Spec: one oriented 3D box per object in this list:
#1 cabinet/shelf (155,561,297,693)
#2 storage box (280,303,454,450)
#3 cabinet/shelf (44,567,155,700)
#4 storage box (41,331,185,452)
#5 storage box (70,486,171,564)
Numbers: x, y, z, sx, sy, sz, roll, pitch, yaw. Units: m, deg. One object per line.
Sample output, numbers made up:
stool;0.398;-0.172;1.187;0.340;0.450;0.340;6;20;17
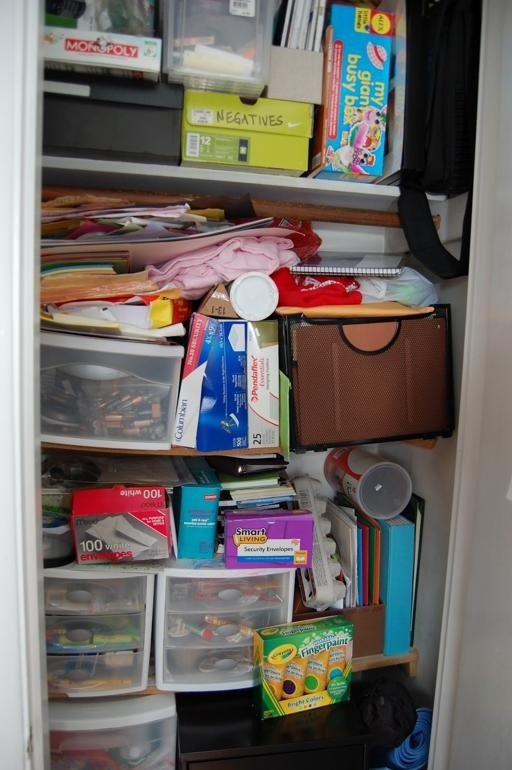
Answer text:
cabinet/shelf;-0.078;0.545;1.356;0.307;0.304;0.179;0;2;-10
storage box;0.236;-0.018;1.437;0.399;0.318;0.228;-5;6;-18
cabinet/shelf;-0.332;0.556;1.396;0.274;0.263;0.205;-3;-12;1
storage box;-0.280;-0.014;1.208;0.243;0.177;0.244;3;10;-11
storage box;-0.285;0.291;1.274;0.157;0.133;0.056;-1;10;-8
